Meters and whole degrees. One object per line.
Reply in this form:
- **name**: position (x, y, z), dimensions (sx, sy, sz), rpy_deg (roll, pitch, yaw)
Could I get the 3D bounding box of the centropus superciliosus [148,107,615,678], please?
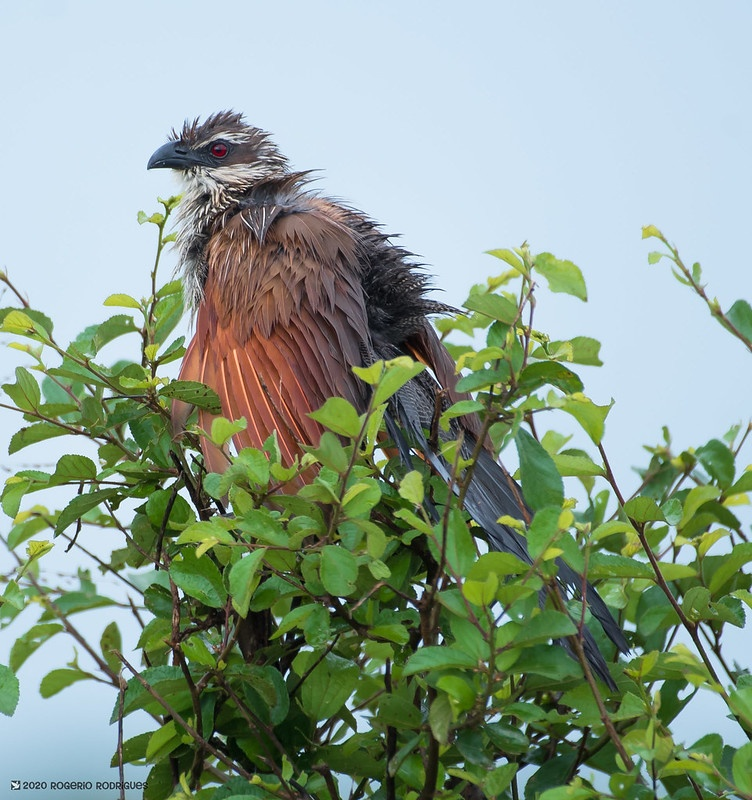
- **centropus superciliosus**: position (0.013, -0.117, 2.711), dimensions (0.492, 1.476, 0.686), rpy_deg (-13, -58, -47)
